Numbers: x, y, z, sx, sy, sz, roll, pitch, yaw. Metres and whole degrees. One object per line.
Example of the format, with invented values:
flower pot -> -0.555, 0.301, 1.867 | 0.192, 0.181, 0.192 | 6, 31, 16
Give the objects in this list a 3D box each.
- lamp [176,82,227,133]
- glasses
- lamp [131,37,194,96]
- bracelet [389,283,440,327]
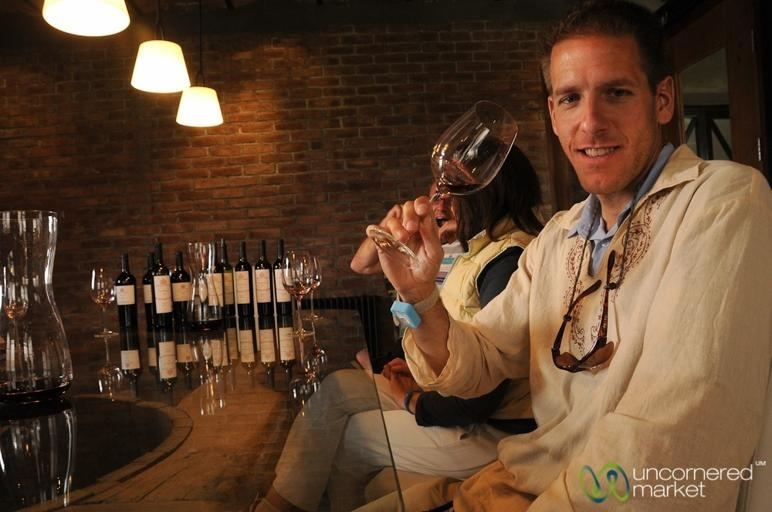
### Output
lamp -> -1.037, -0.823, 3.706 | 0.283, 0.195, 0.281 | 1, 7, 10
glasses -> 0.546, 0.152, 1.789 | 0.082, 0.288, 0.217 | 8, -3, -13
lamp -> -1.026, -0.914, 3.276 | 0.296, 0.203, 0.285 | 1, 20, -32
bracelet -> 0.078, 0.154, 1.965 | 0.101, 0.055, 0.144 | -5, 20, 30
